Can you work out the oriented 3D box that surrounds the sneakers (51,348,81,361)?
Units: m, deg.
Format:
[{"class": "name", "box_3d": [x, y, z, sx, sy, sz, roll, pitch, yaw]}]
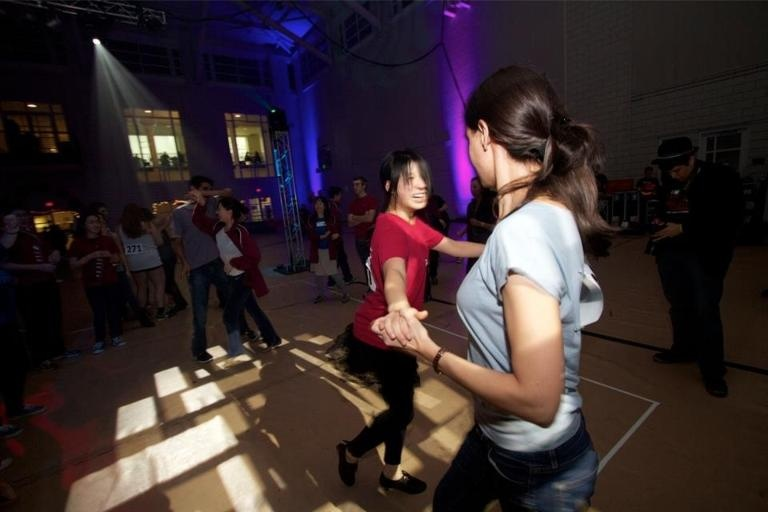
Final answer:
[{"class": "sneakers", "box_3d": [-5.319, 1.666, 7.378, 0.406, 0.158, 0.144, -5, 10, -32]}]

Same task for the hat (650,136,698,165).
[{"class": "hat", "box_3d": [3.763, -1.347, 5.645, 0.407, 0.324, 0.251, 4, 15, 34]}]

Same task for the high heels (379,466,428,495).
[{"class": "high heels", "box_3d": [0.224, 2.530, 5.030, 0.574, 0.238, 0.221, 3, 24, 1]}]

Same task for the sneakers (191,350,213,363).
[{"class": "sneakers", "box_3d": [-2.869, 1.596, 6.971, 0.268, 0.115, 0.149, -1, 7, 17]}]

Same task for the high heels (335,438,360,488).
[{"class": "high heels", "box_3d": [-0.418, 2.361, 5.072, 0.214, 0.568, 0.169, -6, 13, -6]}]

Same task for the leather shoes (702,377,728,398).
[{"class": "leather shoes", "box_3d": [4.276, 1.657, 5.589, 0.315, 0.208, 0.178, -4, 12, 2]}]

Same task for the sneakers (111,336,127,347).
[{"class": "sneakers", "box_3d": [-4.644, 1.499, 7.730, 0.278, 0.121, 0.132, -2, 5, 38]}]

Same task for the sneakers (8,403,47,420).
[{"class": "sneakers", "box_3d": [-4.920, 2.138, 6.124, 0.469, 0.185, 0.164, -1, 20, -32]}]
